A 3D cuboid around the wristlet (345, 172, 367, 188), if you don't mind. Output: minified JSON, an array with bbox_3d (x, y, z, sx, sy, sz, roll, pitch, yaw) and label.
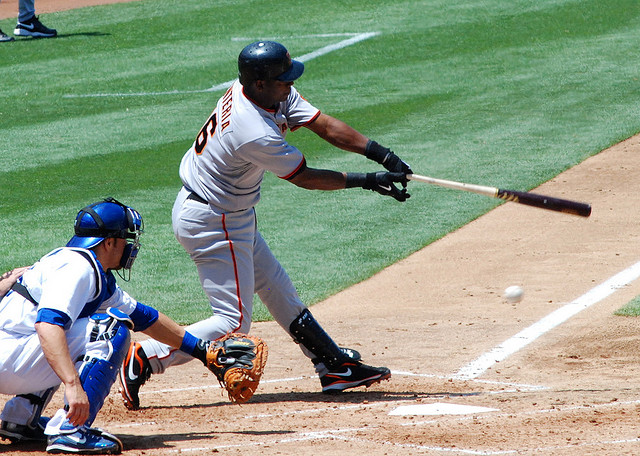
[{"bbox_3d":[0.322,-0.463,11.587,0.231,0.158,0.114,-9,17,1],"label":"wristlet"}]

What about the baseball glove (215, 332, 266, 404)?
[{"bbox_3d":[-0.676,1.267,11.243,0.628,0.619,0.311,3,-3,10],"label":"baseball glove"}]

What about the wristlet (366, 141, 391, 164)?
[{"bbox_3d":[0.531,-0.737,11.768,0.231,0.231,0.145,-18,18,-21],"label":"wristlet"}]

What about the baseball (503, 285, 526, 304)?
[{"bbox_3d":[2.016,0.688,13.003,0.200,0.138,0.213,-2,-4,-5],"label":"baseball"}]
